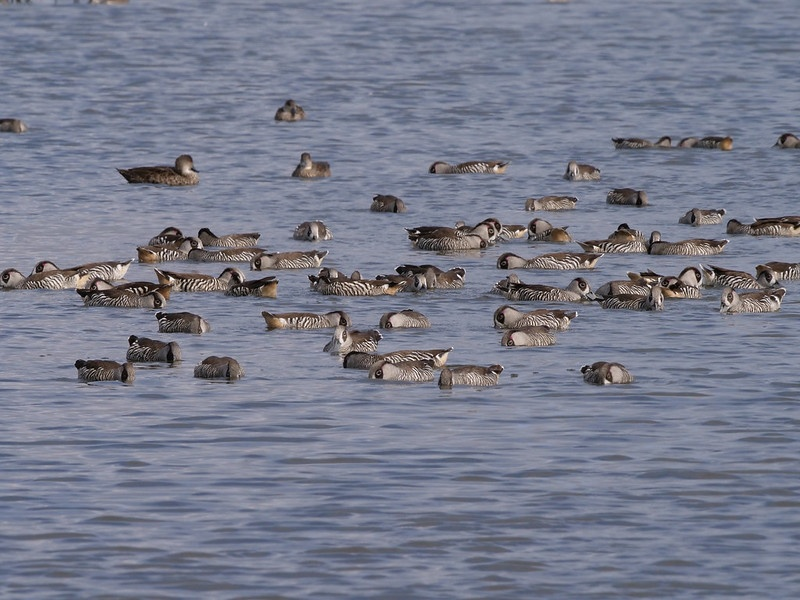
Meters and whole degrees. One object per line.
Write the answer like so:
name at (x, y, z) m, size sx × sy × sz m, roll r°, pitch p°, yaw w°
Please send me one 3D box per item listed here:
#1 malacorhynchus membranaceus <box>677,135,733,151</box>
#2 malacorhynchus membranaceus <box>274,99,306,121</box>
malacorhynchus membranaceus at (10.898, -5.593, 56.287) m, size 2.118 × 0.664 × 0.577 m, roll 4°, pitch 86°, yaw 37°
malacorhynchus membranaceus at (-4.134, -7.192, 60.577) m, size 0.929 × 0.353 × 1.185 m, roll 20°, pitch 28°, yaw 38°
